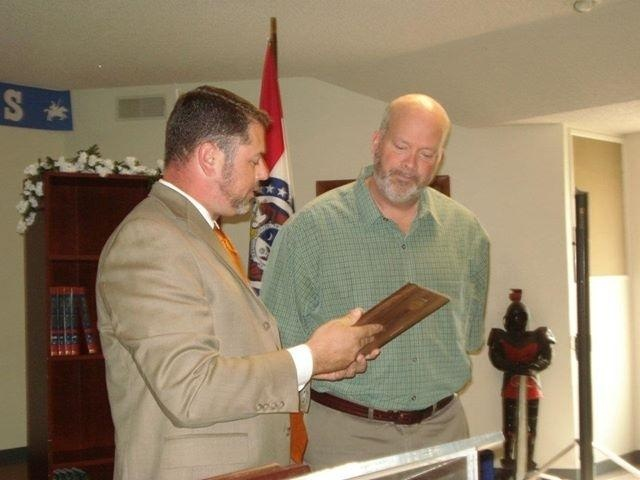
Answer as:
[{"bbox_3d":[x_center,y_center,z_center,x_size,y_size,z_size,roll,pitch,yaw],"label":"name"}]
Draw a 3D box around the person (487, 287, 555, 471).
[{"bbox_3d":[1.707,1.261,5.081,0.477,1.471,0.259,1,-2,-2],"label":"person"}]
